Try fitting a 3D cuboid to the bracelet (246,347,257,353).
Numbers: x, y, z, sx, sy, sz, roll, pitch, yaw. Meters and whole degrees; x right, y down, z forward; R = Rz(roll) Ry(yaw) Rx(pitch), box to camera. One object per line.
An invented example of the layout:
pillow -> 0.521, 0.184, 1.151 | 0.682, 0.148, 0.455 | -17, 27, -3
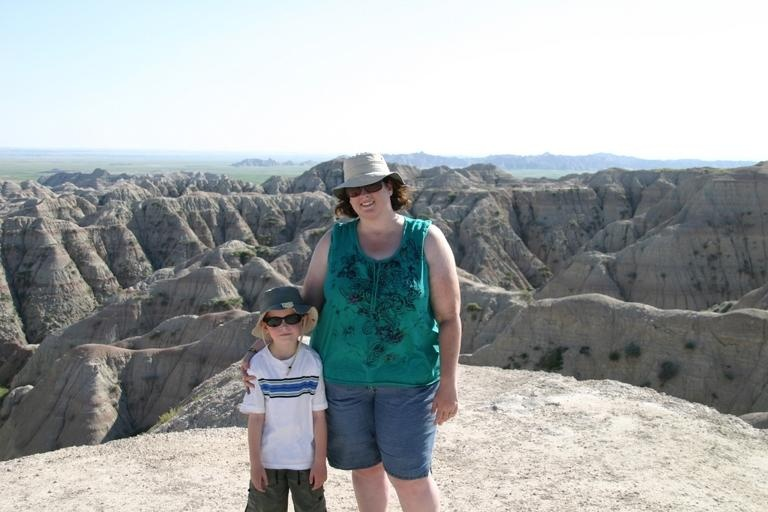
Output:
bracelet -> -2.895, 2.072, 14.118 | 0.186, 0.113, 0.168 | 3, -21, -9
